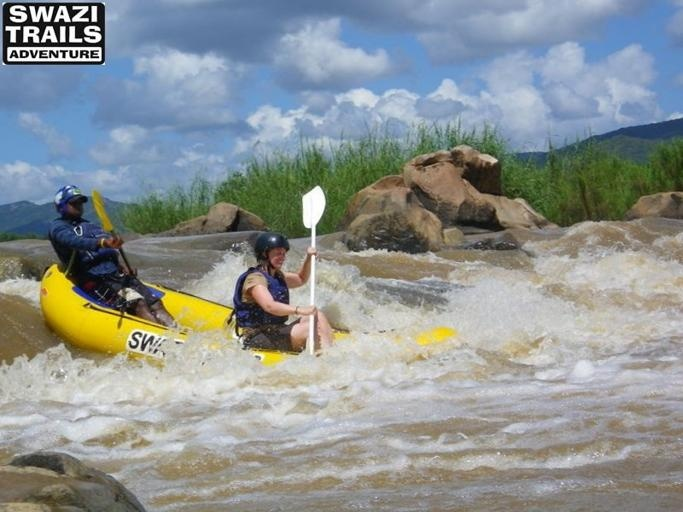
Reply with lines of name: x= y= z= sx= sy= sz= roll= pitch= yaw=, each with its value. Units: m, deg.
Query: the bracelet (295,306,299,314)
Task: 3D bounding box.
bracelet: x=-0.421 y=0.510 z=8.114 sx=0.037 sy=0.068 sz=0.061 roll=-7 pitch=1 yaw=-3

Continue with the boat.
boat: x=-0.659 y=0.668 z=8.854 sx=5.093 sy=0.866 sz=1.442 roll=6 pitch=8 yaw=5

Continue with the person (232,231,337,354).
person: x=-0.608 y=0.360 z=8.522 sx=0.904 sy=1.154 sz=0.939 roll=-7 pitch=1 yaw=-19

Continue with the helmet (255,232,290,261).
helmet: x=-0.696 y=-0.099 z=8.572 sx=0.341 sy=0.213 sz=0.264 roll=-7 pitch=-2 yaw=10
